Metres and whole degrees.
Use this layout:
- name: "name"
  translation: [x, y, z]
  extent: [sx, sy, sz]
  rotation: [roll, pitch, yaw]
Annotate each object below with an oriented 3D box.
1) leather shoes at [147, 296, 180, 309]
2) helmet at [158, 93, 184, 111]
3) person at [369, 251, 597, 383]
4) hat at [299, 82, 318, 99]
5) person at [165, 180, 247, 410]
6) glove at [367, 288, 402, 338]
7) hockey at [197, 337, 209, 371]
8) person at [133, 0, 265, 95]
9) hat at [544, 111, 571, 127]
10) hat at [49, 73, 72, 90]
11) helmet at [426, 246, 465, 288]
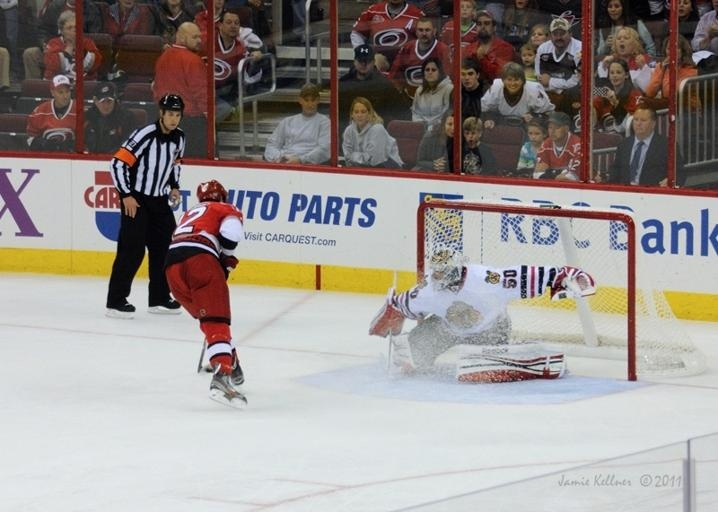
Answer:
- name: "leather shoes"
  translation: [-1.707, 0.415, 9.942]
  extent: [0.264, 0.159, 0.116]
  rotation: [-3, 2, -5]
- name: "helmet"
  translation: [-1.554, -1.272, 9.463]
  extent: [0.188, 0.149, 0.150]
  rotation: [-7, 5, 1]
- name: "person"
  translation: [0.817, 0.408, 8.249]
  extent: [1.481, 0.910, 0.395]
  rotation: [1, 6, 0]
- name: "hat"
  translation: [-0.465, -1.520, 10.533]
  extent: [0.124, 0.121, 0.152]
  rotation: [-3, -21, -3]
- name: "person"
  translation: [-1.063, 0.239, 7.871]
  extent: [0.537, 1.473, 0.939]
  rotation: [0, 6, -8]
- name: "glove"
  translation: [0.222, 0.446, 8.385]
  extent: [0.160, 0.440, 0.190]
  rotation: [21, 39, -3]
- name: "hockey"
  translation: [-1.157, 0.742, 8.385]
  extent: [0.065, 0.219, 0.165]
  rotation: [3, -2, 8]
- name: "person"
  translation: [-1.454, -1.924, 10.761]
  extent: [0.815, 0.973, 0.372]
  rotation: [0, -1, 7]
- name: "hat"
  translation: [1.742, -1.196, 9.943]
  extent: [0.175, 0.079, 0.123]
  rotation: [17, 0, -33]
- name: "hat"
  translation: [-2.898, -1.690, 11.045]
  extent: [0.173, 0.114, 0.271]
  rotation: [0, -3, -27]
- name: "helmet"
  translation: [0.638, 0.077, 8.268]
  extent: [0.251, 0.276, 0.336]
  rotation: [1, 8, 37]
